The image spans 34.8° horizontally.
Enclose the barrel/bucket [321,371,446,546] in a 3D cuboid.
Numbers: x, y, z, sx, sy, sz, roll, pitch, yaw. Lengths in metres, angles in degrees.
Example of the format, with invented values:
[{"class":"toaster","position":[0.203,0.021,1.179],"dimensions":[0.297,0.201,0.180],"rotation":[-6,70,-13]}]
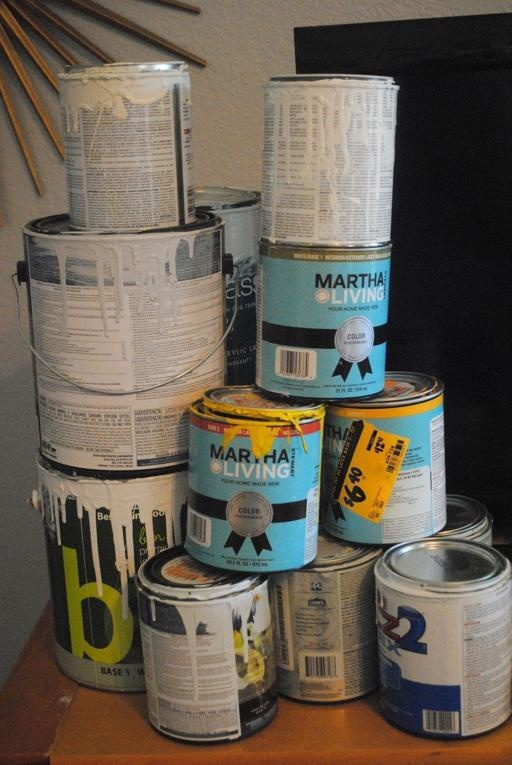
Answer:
[{"class":"barrel/bucket","position":[0.152,0.088,1.034],"dimensions":[0.194,0.187,0.181],"rotation":[-3,10,1]}]

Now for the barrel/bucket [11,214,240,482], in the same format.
[{"class":"barrel/bucket","position":[-0.148,-0.065,1.071],"dimensions":[0.325,0.282,0.282],"rotation":[-6,12,-30]}]

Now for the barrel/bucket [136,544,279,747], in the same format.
[{"class":"barrel/bucket","position":[-0.050,0.295,0.960],"dimensions":[0.183,0.177,0.171],"rotation":[-2,10,0]}]
